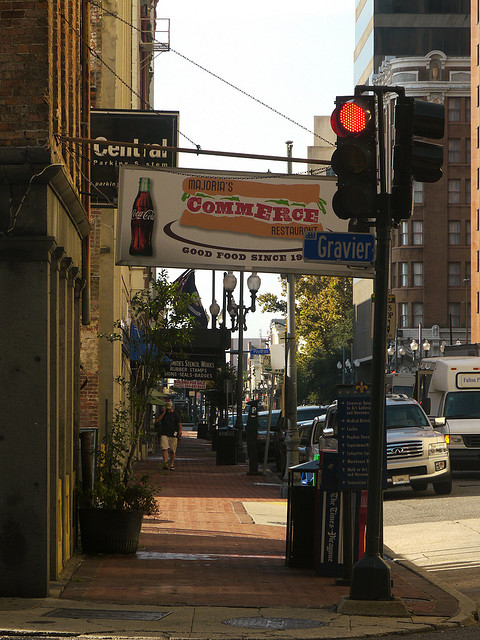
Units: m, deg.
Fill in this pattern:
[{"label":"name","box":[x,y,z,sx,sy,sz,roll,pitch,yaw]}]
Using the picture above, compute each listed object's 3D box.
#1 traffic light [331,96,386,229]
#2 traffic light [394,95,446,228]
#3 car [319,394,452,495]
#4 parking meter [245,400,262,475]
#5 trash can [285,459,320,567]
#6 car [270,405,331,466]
[{"label":"traffic light","box":[0.997,-1.391,11.840,0.446,1.183,0.923,0,-4,4]},{"label":"traffic light","box":[1.522,-1.387,12.099,0.421,1.179,0.632,0,-3,8]},{"label":"car","box":[2.785,2.030,23.134,1.322,1.313,2.488,0,-11,-5]},{"label":"parking meter","box":[0.321,2.523,30.712,0.391,1.629,0.400,5,-10,-22]},{"label":"trash can","box":[0.605,2.060,14.360,0.287,0.882,0.377,0,-3,3]},{"label":"car","box":[1.217,2.482,30.820,0.938,0.985,1.876,0,-2,-2]}]
